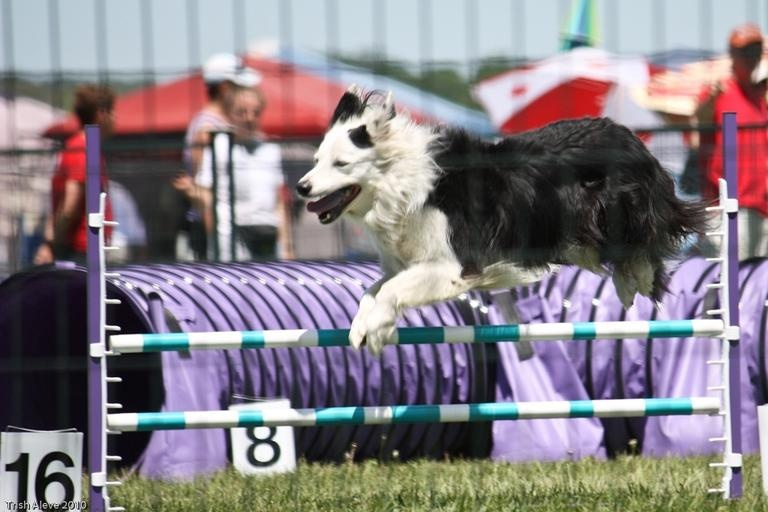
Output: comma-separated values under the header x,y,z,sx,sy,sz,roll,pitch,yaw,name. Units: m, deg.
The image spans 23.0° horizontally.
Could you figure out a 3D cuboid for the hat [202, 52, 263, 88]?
x,y,z,sx,sy,sz,roll,pitch,yaw,name
-1.419,-1.642,17.342,0.390,0.198,0.304,10,5,4,hat
